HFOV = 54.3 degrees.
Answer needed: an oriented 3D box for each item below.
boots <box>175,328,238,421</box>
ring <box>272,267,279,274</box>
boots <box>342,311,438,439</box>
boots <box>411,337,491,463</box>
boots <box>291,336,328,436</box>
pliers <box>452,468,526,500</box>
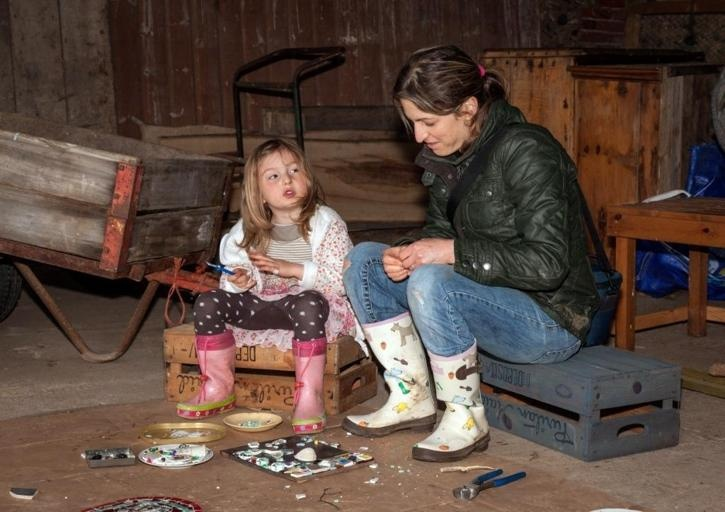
[{"bbox_3d":[-0.881,0.669,4.040,0.158,0.477,0.363,12,20,39],"label":"boots"},{"bbox_3d":[-0.499,0.086,4.022,0.035,0.026,0.031,1,-3,-1],"label":"ring"},{"bbox_3d":[0.080,0.625,3.937,0.739,0.558,0.291,-2,4,-28],"label":"boots"},{"bbox_3d":[0.417,0.741,3.566,0.517,0.517,0.259,0,-6,-42],"label":"boots"},{"bbox_3d":[-0.294,0.690,3.883,0.192,0.471,0.315,-2,15,-4],"label":"boots"},{"bbox_3d":[0.577,1.035,3.272,0.402,0.045,0.111,-9,15,-32],"label":"pliers"}]
